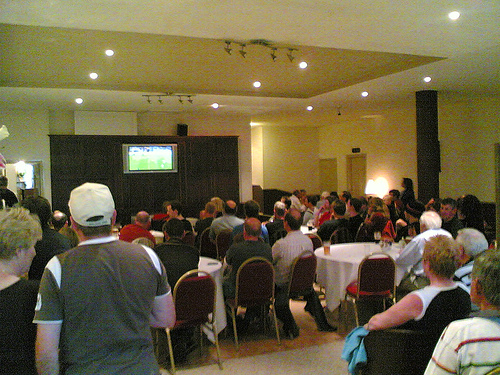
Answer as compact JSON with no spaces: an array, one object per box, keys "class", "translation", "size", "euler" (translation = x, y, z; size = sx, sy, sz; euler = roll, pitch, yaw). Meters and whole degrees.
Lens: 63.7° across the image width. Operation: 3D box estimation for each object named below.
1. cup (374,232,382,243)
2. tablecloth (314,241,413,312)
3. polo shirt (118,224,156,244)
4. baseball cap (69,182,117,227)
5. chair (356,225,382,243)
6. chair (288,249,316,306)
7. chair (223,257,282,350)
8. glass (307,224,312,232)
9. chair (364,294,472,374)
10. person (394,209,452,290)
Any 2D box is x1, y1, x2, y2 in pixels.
[{"class":"cup","translation":[1.693,0.661,5.329],"size":[0.118,0.180,0.119],"euler":[0,1,0]},{"class":"tablecloth","translation":[1.291,1.017,5.171],"size":[0.769,1.129,0.733],"euler":[-1,2,-9]},{"class":"polo shirt","translation":[-1.395,0.574,4.994],"size":[0.458,0.427,0.248],"euler":[2,-9,-13]},{"class":"baseball cap","translation":[-0.966,0.051,2.416],"size":[0.267,0.175,0.404],"euler":[-15,33,-30]},{"class":"chair","translation":[1.729,0.732,5.930],"size":[0.402,0.378,0.217],"euler":[0,9,5]},{"class":"chair","translation":[0.635,1.065,4.761],"size":[0.239,0.660,0.409],"euler":[1,3,36]},{"class":"chair","translation":[0.030,1.270,4.670],"size":[0.656,1.038,0.583],"euler":[-1,3,-1]},{"class":"glass","translation":[1.061,0.716,7.161],"size":[0.084,0.091,0.084],"euler":[-1,1,9]},{"class":"chair","translation":[1.239,1.048,3.031],"size":[0.590,0.737,0.641],"euler":[3,-4,-35]},{"class":"person","translation":[1.766,0.669,4.327],"size":[0.501,0.774,0.492],"euler":[7,13,36]}]
